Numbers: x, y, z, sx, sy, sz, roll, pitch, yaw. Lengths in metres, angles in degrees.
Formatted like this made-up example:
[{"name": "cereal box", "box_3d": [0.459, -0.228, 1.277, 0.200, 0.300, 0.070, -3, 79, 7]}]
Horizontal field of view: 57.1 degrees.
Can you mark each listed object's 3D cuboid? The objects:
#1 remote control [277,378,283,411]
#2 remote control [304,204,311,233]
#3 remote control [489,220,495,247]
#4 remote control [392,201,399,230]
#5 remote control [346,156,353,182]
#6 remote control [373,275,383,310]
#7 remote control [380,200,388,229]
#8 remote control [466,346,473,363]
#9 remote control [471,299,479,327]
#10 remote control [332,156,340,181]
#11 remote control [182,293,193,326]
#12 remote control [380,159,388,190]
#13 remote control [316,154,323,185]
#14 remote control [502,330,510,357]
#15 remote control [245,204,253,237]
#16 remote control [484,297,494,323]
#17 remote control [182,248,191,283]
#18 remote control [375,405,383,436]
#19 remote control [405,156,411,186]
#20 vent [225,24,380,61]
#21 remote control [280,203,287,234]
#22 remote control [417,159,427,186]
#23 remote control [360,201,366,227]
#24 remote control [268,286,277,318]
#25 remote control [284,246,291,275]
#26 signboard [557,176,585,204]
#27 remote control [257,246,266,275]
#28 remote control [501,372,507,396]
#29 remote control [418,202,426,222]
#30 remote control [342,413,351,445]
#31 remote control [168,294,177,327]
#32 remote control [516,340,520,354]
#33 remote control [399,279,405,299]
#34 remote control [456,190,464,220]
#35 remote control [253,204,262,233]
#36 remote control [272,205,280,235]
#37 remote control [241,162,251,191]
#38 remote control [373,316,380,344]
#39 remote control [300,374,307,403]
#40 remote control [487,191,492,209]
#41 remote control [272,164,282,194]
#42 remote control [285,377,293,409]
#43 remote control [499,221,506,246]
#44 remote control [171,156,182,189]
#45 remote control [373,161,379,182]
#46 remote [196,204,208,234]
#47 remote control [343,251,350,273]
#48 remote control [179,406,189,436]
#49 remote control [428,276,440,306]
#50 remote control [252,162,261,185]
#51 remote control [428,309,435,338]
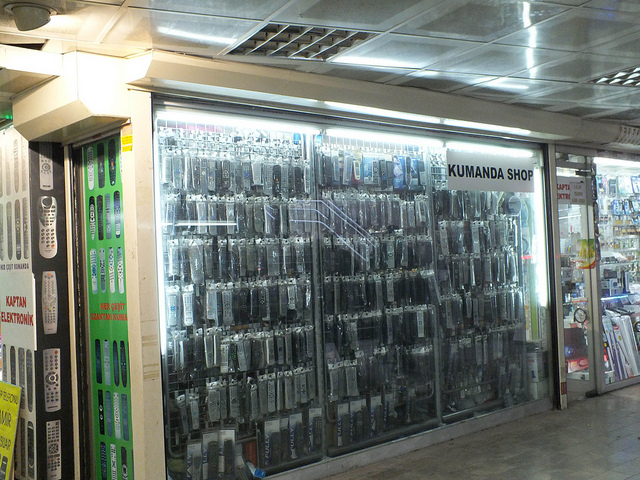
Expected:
[{"name": "remote control", "box_3d": [-0.375, 1.401, 5.363, 0.061, 0.282, 0.016, -2, -5, -30]}, {"name": "remote control", "box_3d": [-0.124, -0.204, 5.565, 0.070, 0.265, 0.028, -1, -6, -39]}, {"name": "remote control", "box_3d": [1.977, -0.077, 6.738, 0.069, 0.306, 0.035, -2, -5, -29]}, {"name": "remote control", "box_3d": [0.782, -0.255, 6.061, 0.089, 0.289, 0.025, -2, -5, -31]}, {"name": "remote control", "box_3d": [0.285, -0.701, 5.800, 0.078, 0.244, 0.038, -1, -6, -43]}, {"name": "remote control", "box_3d": [0.582, 0.520, 5.912, 0.098, 0.347, 0.030, -1, -6, -39]}, {"name": "remote control", "box_3d": [0.652, -0.262, 5.993, 0.084, 0.279, 0.022, -2, -5, -30]}, {"name": "remote control", "box_3d": [1.650, 1.252, 6.482, 0.093, 0.179, 0.005, -2, -5, -32]}, {"name": "remote control", "box_3d": [1.738, 0.803, 6.573, 0.094, 0.294, 0.030, -1, -6, -39]}, {"name": "remote control", "box_3d": [0.153, -0.694, 5.721, 0.071, 0.234, 0.033, -1, -6, -40]}, {"name": "remote control", "box_3d": [-1.131, 0.578, 4.984, 0.078, 0.267, 0.032, -1, -6, -44]}, {"name": "remote control", "box_3d": [0.648, -0.672, 6.010, 0.084, 0.299, 0.030, -2, -6, -34]}, {"name": "remote control", "box_3d": [-0.010, -0.676, 5.640, 0.072, 0.284, 0.040, -2, -6, -35]}, {"name": "remote control", "box_3d": [2.158, 1.192, 6.800, 0.113, 0.296, 0.035, -1, -6, -40]}, {"name": "remote control", "box_3d": [-0.649, -0.175, 5.286, 0.078, 0.292, 0.017, -2, -5, -31]}, {"name": "remote control", "box_3d": [1.922, 0.790, 6.677, 0.153, 0.276, 0.027, -2, -6, -35]}, {"name": "remote control", "box_3d": [-1.143, 0.211, 4.988, 0.069, 0.289, 0.031, -1, -6, -39]}, {"name": "remote control", "box_3d": [0.582, 1.774, 5.822, 0.114, 0.289, 0.016, -3, -5, -29]}, {"name": "remote control", "box_3d": [0.919, -0.727, 6.150, 0.088, 0.294, 0.021, -3, -5, -28]}, {"name": "vent", "box_3d": [-0.175, -1.557, 4.651, 1.092, 0.121, 0.505, -5, -4, -12]}, {"name": "remote control", "box_3d": [-0.348, -0.200, 5.441, 0.078, 0.271, 0.018, -2, -6, -33]}, {"name": "remote control", "box_3d": [1.086, -0.714, 6.237, 0.116, 0.277, 0.032, -2, -6, -37]}, {"name": "remote control", "box_3d": [0.430, -0.259, 5.875, 0.052, 0.243, 0.018, -2, -6, -37]}, {"name": "remote control", "box_3d": [-0.435, 0.561, 5.369, 0.079, 0.283, 0.033, -2, -6, -36]}, {"name": "remote control", "box_3d": [-0.308, 0.182, 5.450, 0.069, 0.254, 0.025, -1, -6, -41]}, {"name": "signboard", "box_3d": [3.181, -0.638, 7.440, 0.510, 0.226, 0.119, -2, -6, -39]}, {"name": "remote control", "box_3d": [-0.540, 0.181, 5.327, 0.084, 0.254, 0.027, -3, -5, -25]}, {"name": "remote control", "box_3d": [2.116, 1.635, 6.742, 0.109, 0.246, 0.023, -2, -6, -34]}, {"name": "remote control", "box_3d": [1.078, -0.294, 6.219, 0.097, 0.205, 0.023, -2, -6, -38]}, {"name": "remote control", "box_3d": [0.247, 1.799, 5.646, 0.093, 0.295, 0.014, -3, -5, -28]}, {"name": "remote control", "box_3d": [-1.242, 0.587, 4.922, 0.078, 0.271, 0.036, -3, -5, -23]}, {"name": "remote control", "box_3d": [2.331, 1.247, 6.911, 0.058, 0.162, 0.021, -1, -6, -43]}, {"name": "remote control", "box_3d": [0.840, 0.497, 6.049, 0.065, 0.191, 0.016, -2, -6, -37]}, {"name": "remote control", "box_3d": [1.552, -0.387, 6.513, 0.101, 0.317, 0.040, -1, -6, -42]}, {"name": "remote control", "box_3d": [-0.573, -0.199, 5.325, 0.073, 0.249, 0.013, -2, -5, -31]}, {"name": "remote control", "box_3d": [-0.410, -0.190, 5.409, 0.066, 0.264, 0.023, -4, -5, -16]}, {"name": "remote control", "box_3d": [-0.675, -0.569, 5.293, 0.079, 0.252, 0.032, -4, -5, -16]}, {"name": "remote control", "box_3d": [0.562, 0.899, 5.878, 0.085, 0.262, 0.023, -2, -6, -37]}, {"name": "remote control", "box_3d": [-0.166, 1.375, 5.476, 0.072, 0.260, 0.021, -2, -6, -32]}, {"name": "remote control", "box_3d": [1.939, -0.461, 6.726, 0.064, 0.178, 0.015, -2, -6, -34]}, {"name": "remote control", "box_3d": [-0.403, -0.559, 5.430, 0.095, 0.265, 0.014, -3, -5, -25]}, {"name": "remote control", "box_3d": [-0.297, 1.399, 5.401, 0.083, 0.279, 0.018, -2, -6, -33]}, {"name": "remote control", "box_3d": [2.129, -0.078, 6.831, 0.099, 0.280, 0.041, -1, -6, -39]}, {"name": "remote control", "box_3d": [-1.225, -0.571, 4.984, 0.030, 0.274, 0.083, -9, -6, 43]}, {"name": "remote control", "box_3d": [0.565, -0.692, 5.967, 0.076, 0.208, 0.027, -2, -6, -38]}, {"name": "remote", "box_3d": [-1.027, -0.185, 5.082, 0.088, 0.249, 0.022, -1, -6, -43]}, {"name": "remote control", "box_3d": [0.253, 0.212, 5.754, 0.075, 0.207, 0.027, -2, -6, -34]}, {"name": "remote control", "box_3d": [-1.146, 1.501, 4.908, 0.072, 0.238, 0.016, -1, -6, -44]}, {"name": "remote control", "box_3d": [1.199, 0.529, 6.254, 0.149, 0.297, 0.020, -1, -6, -42]}, {"name": "remote control", "box_3d": [-0.582, -0.600, 5.342, 0.082, 0.193, 0.020, -1, -6, -39]}, {"name": "remote control", "box_3d": [1.171, 0.873, 6.200, 0.097, 0.296, 0.028, -1, -6, -41]}]
